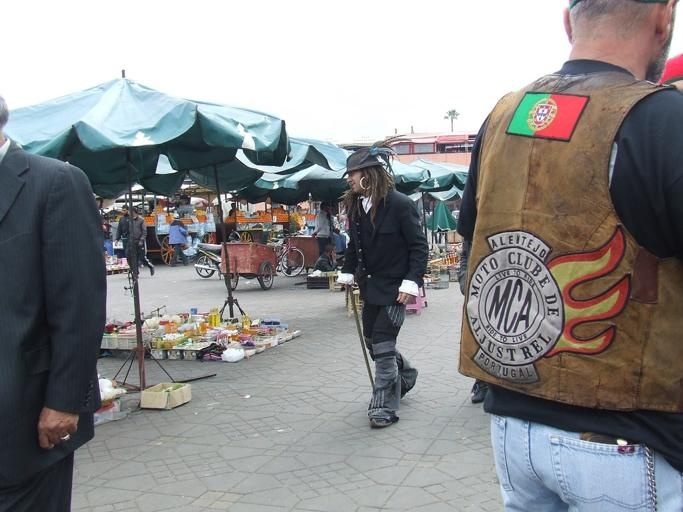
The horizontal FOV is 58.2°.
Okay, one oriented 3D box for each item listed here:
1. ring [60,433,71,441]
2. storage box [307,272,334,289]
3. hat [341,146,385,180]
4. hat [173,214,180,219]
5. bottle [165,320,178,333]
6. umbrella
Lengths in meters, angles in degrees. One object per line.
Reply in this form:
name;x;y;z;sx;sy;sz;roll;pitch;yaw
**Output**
ring;-1.116;0.729;2.485;0.059;0.025;0.021;-16;-6;33
storage box;-0.551;0.577;14.628;0.440;0.248;0.611;0;0;11
hat;0.214;-0.836;5.213;0.328;0.130;0.286;-15;-6;-8
hat;-5.743;-1.404;21.274;0.196;0.077;0.228;0;-2;-41
bottle;-2.297;0.948;8.290;0.140;0.120;0.132;0;-5;-9
umbrella;-1.928;-0.227;7.442;3.420;2.650;3.578;-6;12;-32
